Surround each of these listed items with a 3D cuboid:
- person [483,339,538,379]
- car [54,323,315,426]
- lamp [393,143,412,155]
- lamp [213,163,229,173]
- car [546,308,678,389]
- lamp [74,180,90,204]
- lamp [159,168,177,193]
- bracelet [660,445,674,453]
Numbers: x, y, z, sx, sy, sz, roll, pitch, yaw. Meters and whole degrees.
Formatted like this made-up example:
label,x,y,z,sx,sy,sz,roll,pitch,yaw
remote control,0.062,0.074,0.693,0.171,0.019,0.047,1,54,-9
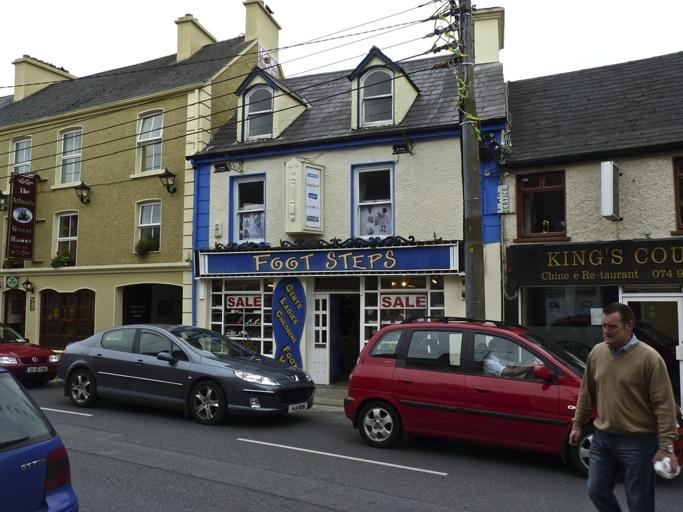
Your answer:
label,x,y,z,sx,sy,sz,roll,pitch,yaw
person,2.768,1.718,11.947,1.039,0.469,0.743,-2,2,4
car,-3.041,2.250,14.632,4.482,1.304,2.040,-2,-8,21
lamp,1.508,-2.576,17.720,0.468,0.243,0.224,2,8,2
lamp,-3.189,-2.347,19.764,0.610,0.259,0.227,7,10,38
car,5.829,1.855,15.829,2.412,1.115,1.206,-5,-7,31
lamp,-7.771,-1.895,22.236,0.598,0.709,0.327,7,10,33
lamp,-4.812,-2.083,20.559,0.503,0.686,0.453,9,11,43
bracelet,3.803,2.237,8.605,0.107,0.065,0.116,19,-23,-37
